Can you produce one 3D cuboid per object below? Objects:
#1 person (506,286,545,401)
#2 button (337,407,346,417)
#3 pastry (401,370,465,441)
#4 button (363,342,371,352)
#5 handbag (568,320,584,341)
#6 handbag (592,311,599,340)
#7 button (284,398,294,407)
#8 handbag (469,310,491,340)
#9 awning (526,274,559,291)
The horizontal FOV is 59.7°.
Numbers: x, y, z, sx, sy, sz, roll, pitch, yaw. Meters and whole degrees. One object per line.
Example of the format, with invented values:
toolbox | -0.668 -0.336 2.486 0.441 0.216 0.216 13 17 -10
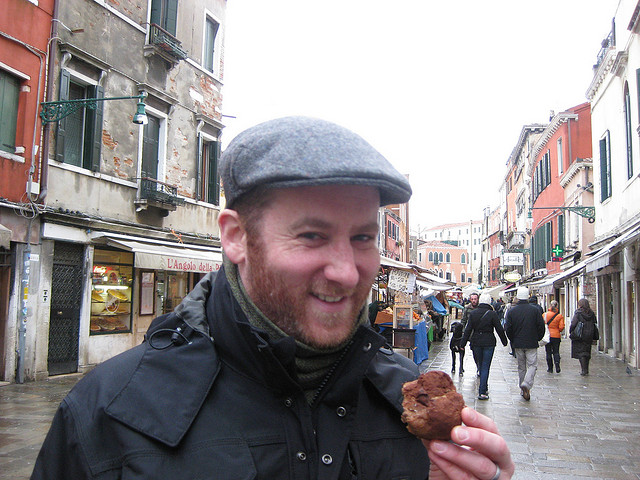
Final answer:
person | 4.093 2.011 11.268 0.726 2.217 0.680 3 5 19
button | 0.082 0.698 2.258 0.026 0.030 0.010 6 -17 2
pastry | 0.445 0.655 2.246 0.212 0.287 0.097 -3 -45 11
button | 0.191 0.445 2.308 0.022 0.031 0.008 21 -2 -10
handbag | 6.730 2.416 14.769 0.268 0.521 0.372 5 -6 6
handbag | 7.210 2.297 14.714 0.143 0.630 0.337 3 -6 28
button | -0.124 0.642 2.196 0.025 0.029 0.009 -11 -10 1
handbag | 3.262 1.746 11.436 0.071 0.647 0.070 20 11 -22
awning | 11.799 2.269 29.680 1.820 0.634 1.787 -2 -4 -37
